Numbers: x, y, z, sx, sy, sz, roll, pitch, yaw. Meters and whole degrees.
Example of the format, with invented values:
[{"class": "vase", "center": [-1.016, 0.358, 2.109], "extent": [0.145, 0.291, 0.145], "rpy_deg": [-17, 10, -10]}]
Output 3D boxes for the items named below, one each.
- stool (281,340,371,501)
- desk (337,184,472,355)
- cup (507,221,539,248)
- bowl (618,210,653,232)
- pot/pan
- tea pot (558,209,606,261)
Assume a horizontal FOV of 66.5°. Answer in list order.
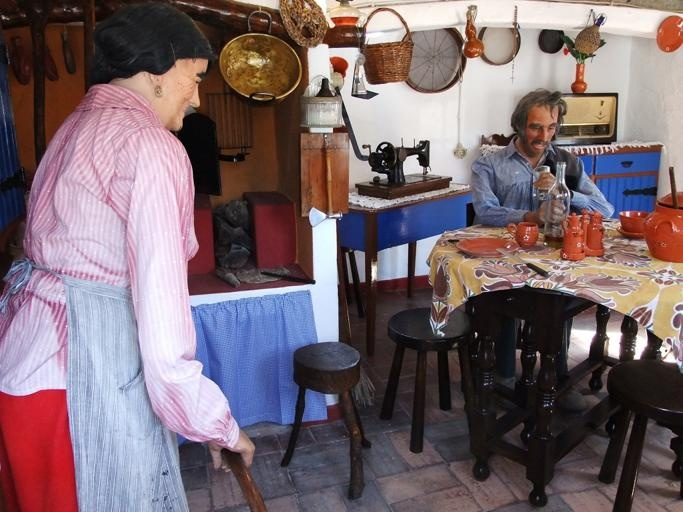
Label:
[{"class": "stool", "center": [-0.057, 0.786, 2.700], "extent": [0.576, 0.631, 0.583], "rpy_deg": [-5, 21, -12]}, {"class": "desk", "center": [0.406, 0.072, 3.595], "extent": [1.107, 1.043, 0.452], "rpy_deg": [-19, 30, -37]}, {"class": "cup", "center": [0.853, -0.108, 2.468], "extent": [0.103, 0.107, 0.149], "rpy_deg": [-10, 16, -41]}, {"class": "bowl", "center": [1.395, -0.195, 2.479], "extent": [0.125, 0.090, 0.133], "rpy_deg": [-1, 16, 0]}, {"class": "pot/pan", "center": [-0.395, -0.957, 2.540], "extent": [0.349, 0.455, 0.203], "rpy_deg": [10, -9, -11]}, {"class": "tea pot", "center": [1.004, -0.086, 2.213], "extent": [0.209, 0.213, 0.182], "rpy_deg": [-1, 3, -31]}]
